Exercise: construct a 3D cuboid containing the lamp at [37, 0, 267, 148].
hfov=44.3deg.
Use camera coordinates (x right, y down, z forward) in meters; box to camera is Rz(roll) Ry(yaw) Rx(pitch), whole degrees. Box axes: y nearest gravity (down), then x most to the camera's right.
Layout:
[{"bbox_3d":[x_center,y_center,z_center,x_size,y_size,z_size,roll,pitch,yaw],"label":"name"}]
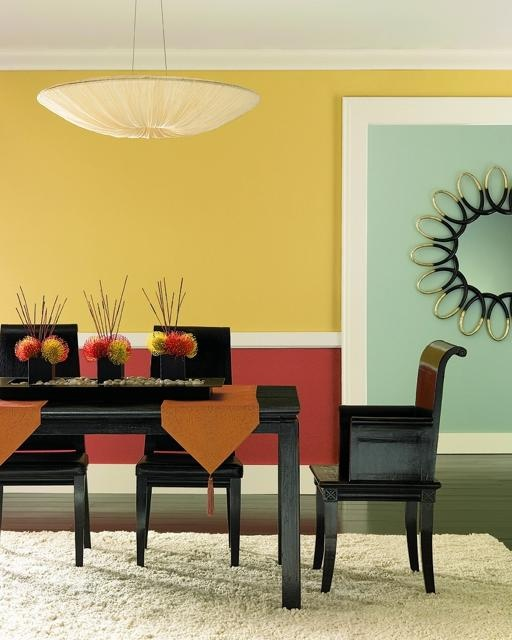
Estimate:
[{"bbox_3d":[-0.408,-0.869,2.447,0.509,0.444,0.490,0,3,15],"label":"lamp"}]
